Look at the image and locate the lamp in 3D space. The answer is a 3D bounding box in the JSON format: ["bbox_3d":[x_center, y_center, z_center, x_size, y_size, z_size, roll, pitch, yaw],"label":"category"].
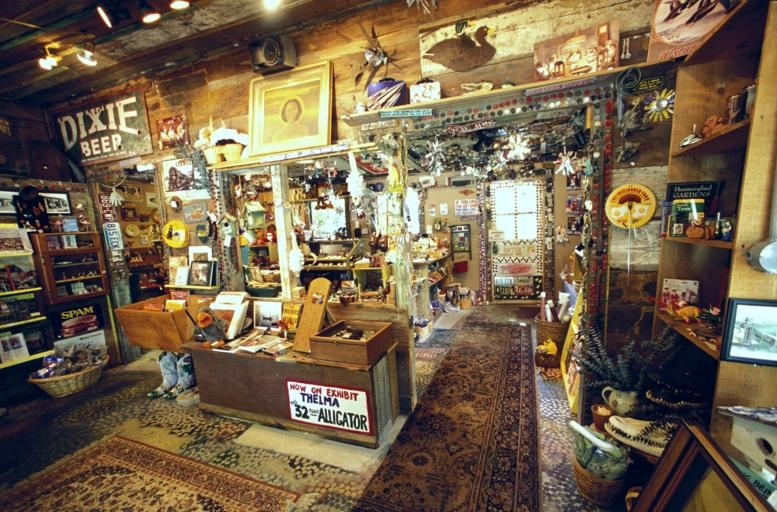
[{"bbox_3d":[-3.619,-2.878,6.515,2.026,0.351,0.421,-6,38,10],"label":"lamp"}]

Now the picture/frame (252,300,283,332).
[{"bbox_3d":[-1.666,0.829,6.952,0.505,0.354,0.048,2,-9,19],"label":"picture/frame"}]

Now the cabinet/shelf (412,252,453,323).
[{"bbox_3d":[0.949,0.590,10.092,0.338,1.024,2.328,-18,-1,15],"label":"cabinet/shelf"}]

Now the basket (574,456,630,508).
[{"bbox_3d":[2.300,2.483,5.552,0.485,0.292,0.475,-2,11,-17],"label":"basket"}]

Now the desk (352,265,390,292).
[{"bbox_3d":[-0.281,0.376,8.295,0.818,0.358,0.536,2,-18,8],"label":"desk"}]

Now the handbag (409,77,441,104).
[{"bbox_3d":[0.448,-2.046,6.212,0.401,0.306,0.161,-3,6,3],"label":"handbag"}]

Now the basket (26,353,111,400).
[{"bbox_3d":[-4.733,1.856,7.536,0.735,0.242,0.696,3,15,29],"label":"basket"}]

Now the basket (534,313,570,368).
[{"bbox_3d":[2.512,1.233,7.699,0.500,0.498,0.399,8,8,35],"label":"basket"}]

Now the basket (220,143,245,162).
[{"bbox_3d":[-2.182,-1.450,7.086,0.297,0.172,0.272,2,6,15],"label":"basket"}]

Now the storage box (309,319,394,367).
[{"bbox_3d":[-0.444,1.043,6.360,0.872,0.233,0.796,2,15,32],"label":"storage box"}]

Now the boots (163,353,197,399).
[{"bbox_3d":[-3.053,1.724,7.213,0.285,0.550,0.626,-4,2,14],"label":"boots"}]

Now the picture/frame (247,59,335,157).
[{"bbox_3d":[-1.272,-1.994,6.754,1.656,1.123,0.140,1,1,17],"label":"picture/frame"}]

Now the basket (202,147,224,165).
[{"bbox_3d":[-2.455,-1.425,7.173,0.271,0.194,0.261,8,22,24],"label":"basket"}]

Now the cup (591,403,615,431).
[{"bbox_3d":[2.410,1.846,5.814,0.304,0.235,0.274,2,1,-11],"label":"cup"}]
